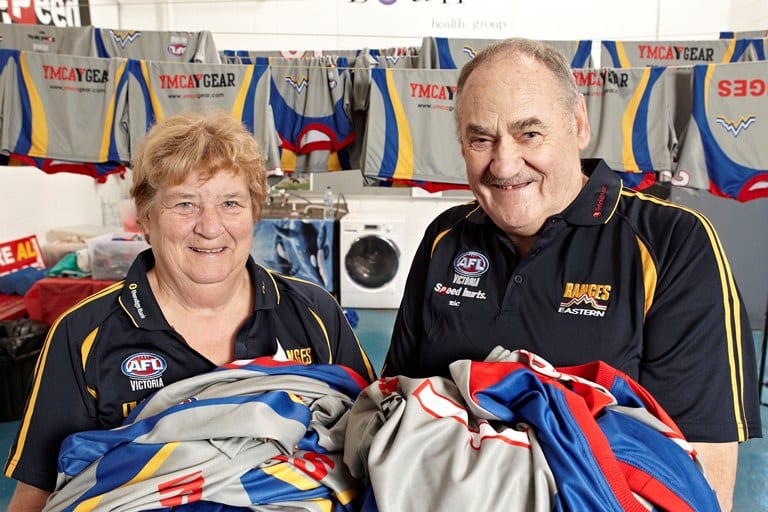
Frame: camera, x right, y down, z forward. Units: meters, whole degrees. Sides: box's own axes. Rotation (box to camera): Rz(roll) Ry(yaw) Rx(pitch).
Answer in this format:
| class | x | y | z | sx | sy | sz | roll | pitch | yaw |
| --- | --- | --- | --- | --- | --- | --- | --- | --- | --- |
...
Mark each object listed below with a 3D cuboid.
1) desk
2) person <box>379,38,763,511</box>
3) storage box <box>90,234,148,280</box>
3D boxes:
| class | x | y | z | sx | sy | sz | roll | pitch | yaw |
| --- | --- | --- | --- | --- | --- | --- | --- | --- | --- |
| desk | -2.597 | 0.272 | 5.745 | 0.648 | 0.356 | 0.675 | 2 | 21 | -14 |
| person | 0.780 | 0.032 | 2.819 | 1.478 | 1.774 | 0.575 | 8 | 17 | 30 |
| storage box | -2.155 | 0.032 | 5.709 | 0.526 | 0.362 | 0.807 | 0 | 3 | -8 |
